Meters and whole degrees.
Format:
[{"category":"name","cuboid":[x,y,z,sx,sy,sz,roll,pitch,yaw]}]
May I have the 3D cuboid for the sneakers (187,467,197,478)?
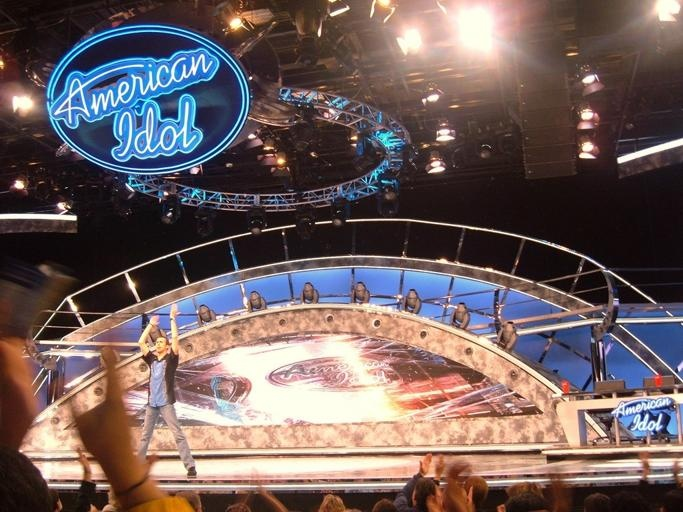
[{"category":"sneakers","cuboid":[-2.236,3.230,9.408,0.133,0.201,0.149,2,-22,-5]}]
